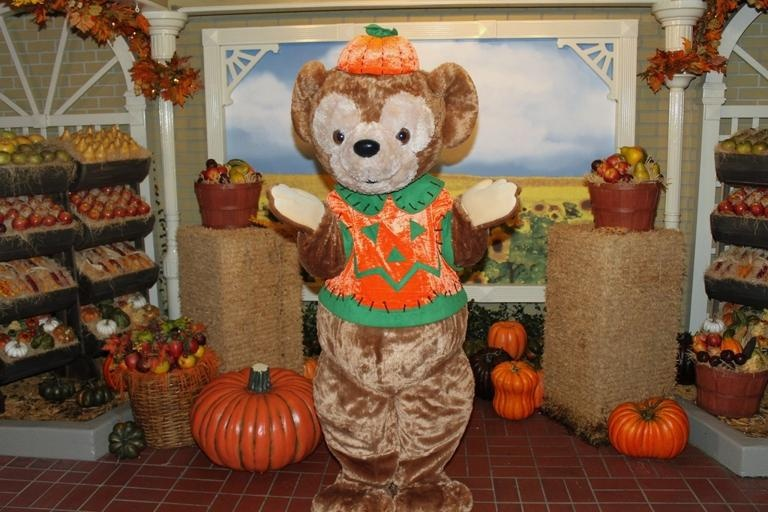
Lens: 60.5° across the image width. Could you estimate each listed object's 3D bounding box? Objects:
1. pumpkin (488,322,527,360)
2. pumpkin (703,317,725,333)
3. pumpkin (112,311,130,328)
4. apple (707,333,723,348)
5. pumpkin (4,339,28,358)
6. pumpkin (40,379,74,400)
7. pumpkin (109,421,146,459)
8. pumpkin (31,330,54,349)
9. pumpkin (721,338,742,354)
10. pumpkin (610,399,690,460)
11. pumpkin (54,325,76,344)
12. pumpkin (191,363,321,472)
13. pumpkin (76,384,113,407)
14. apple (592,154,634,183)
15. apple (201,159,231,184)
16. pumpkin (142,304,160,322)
[{"bbox_3d":[1.334,0.877,7.146,0.410,0.499,0.412,2,-2,36],"label":"pumpkin"},{"bbox_3d":[3.238,0.679,6.444,0.147,0.134,0.143,-10,14,-33],"label":"pumpkin"},{"bbox_3d":[-2.780,0.669,6.967,0.171,0.160,0.166,14,50,-10],"label":"pumpkin"},{"bbox_3d":[3.065,0.774,6.096,0.126,0.119,0.120,0,7,-14],"label":"apple"},{"bbox_3d":[-3.564,0.875,6.364,0.164,0.141,0.161,0,25,-39],"label":"pumpkin"},{"bbox_3d":[-3.145,1.267,6.337,0.236,0.176,0.223,7,2,41],"label":"pumpkin"},{"bbox_3d":[-2.246,1.600,5.728,0.309,0.294,0.088,-2,-7,-8],"label":"pumpkin"},{"bbox_3d":[-3.366,0.835,6.469,0.189,0.142,0.129,-17,23,-41],"label":"pumpkin"},{"bbox_3d":[3.172,0.814,6.004,0.138,0.183,0.133,2,-7,8],"label":"pumpkin"},{"bbox_3d":[2.302,1.476,5.665,0.573,0.328,0.516,-2,15,10],"label":"pumpkin"},{"bbox_3d":[-3.207,0.796,6.624,0.169,0.083,0.178,11,9,6],"label":"pumpkin"},{"bbox_3d":[-1.018,1.328,5.716,0.986,0.688,0.971,1,13,7],"label":"pumpkin"},{"bbox_3d":[-2.744,1.323,6.249,0.327,0.179,0.174,-6,18,-15],"label":"pumpkin"},{"bbox_3d":[2.058,-0.797,5.942,0.249,0.149,0.327,-8,26,13],"label":"apple"},{"bbox_3d":[-1.625,-0.788,6.283,0.219,0.138,0.288,-17,10,-17],"label":"apple"},{"bbox_3d":[-2.534,0.616,7.116,0.181,0.116,0.177,2,0,6],"label":"pumpkin"}]
